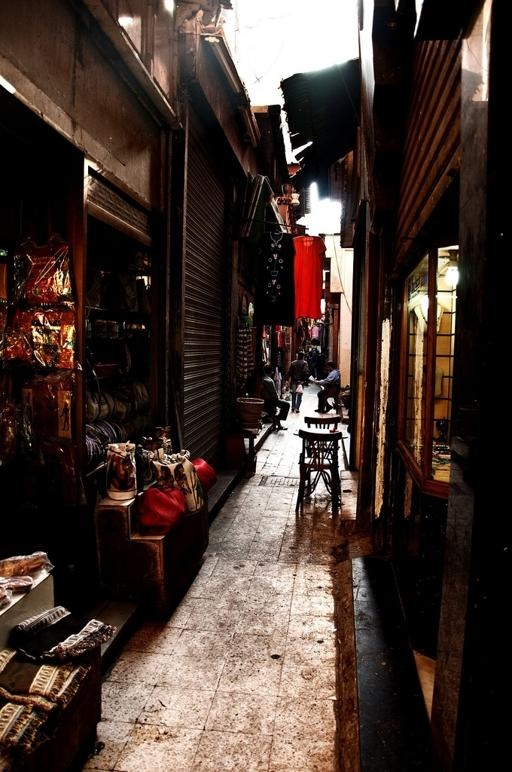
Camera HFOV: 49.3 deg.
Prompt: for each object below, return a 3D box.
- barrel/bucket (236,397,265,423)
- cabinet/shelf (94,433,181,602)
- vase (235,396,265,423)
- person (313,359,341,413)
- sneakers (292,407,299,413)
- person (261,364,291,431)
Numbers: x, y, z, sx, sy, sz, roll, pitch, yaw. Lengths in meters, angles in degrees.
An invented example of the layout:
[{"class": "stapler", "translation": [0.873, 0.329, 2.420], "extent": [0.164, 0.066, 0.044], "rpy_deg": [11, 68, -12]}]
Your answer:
[{"class": "barrel/bucket", "translation": [-0.087, 0.428, 9.126], "extent": [0.290, 0.441, 0.377], "rpy_deg": [1, -2, 11]}, {"class": "cabinet/shelf", "translation": [-0.860, 1.203, 4.089], "extent": [0.523, 0.895, 0.415], "rpy_deg": [1, 3, 9]}, {"class": "vase", "translation": [-0.109, 0.414, 9.132], "extent": [0.290, 0.433, 0.388], "rpy_deg": [2, -2, -2]}, {"class": "person", "translation": [2.005, 0.044, 15.929], "extent": [0.537, 1.573, 0.592], "rpy_deg": [3, 13, 3]}, {"class": "sneakers", "translation": [1.260, 0.808, 17.873], "extent": [0.191, 0.158, 0.517], "rpy_deg": [1, 4, -1]}, {"class": "person", "translation": [0.463, 0.323, 13.800], "extent": [0.623, 1.608, 2.745], "rpy_deg": [1, 3, 3]}]
